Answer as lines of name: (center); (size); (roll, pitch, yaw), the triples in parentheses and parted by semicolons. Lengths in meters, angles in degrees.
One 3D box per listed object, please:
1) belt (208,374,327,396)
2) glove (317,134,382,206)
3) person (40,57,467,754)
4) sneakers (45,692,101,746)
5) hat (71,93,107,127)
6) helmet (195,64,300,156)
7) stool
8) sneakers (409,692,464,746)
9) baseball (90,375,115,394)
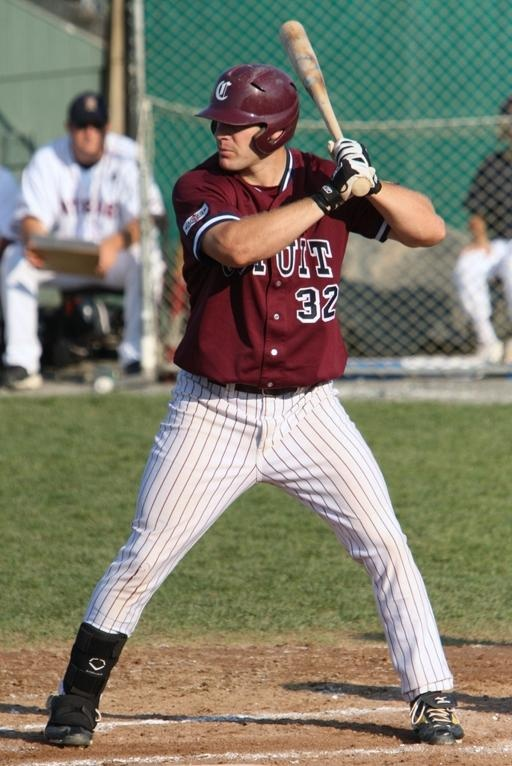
belt: (0.033, 0.011, 2.141); (0.258, 0.034, 0.078); (-1, 1, -29)
glove: (0.185, -0.416, 2.111); (0.122, 0.065, 0.171); (-11, 50, -4)
person: (-0.006, 0.035, 2.137); (0.874, 1.430, 0.318); (-1, 2, -10)
sneakers: (-0.390, 0.708, 2.177); (0.106, 0.077, 0.182); (16, 0, -14)
hat: (-0.764, -1.275, 4.821); (0.155, 0.139, 0.189); (-2, -5, -1)
helmet: (-0.014, -0.591, 2.198); (0.236, 0.164, 0.165); (-17, 37, -30)
stool: (-0.807, -0.307, 5.154); (0.181, 0.469, 0.221); (1, 17, -10)
sneakers: (0.379, 0.695, 2.165); (0.101, 0.080, 0.194); (-6, 4, 1)
baseball: (-0.770, 0.007, 5.167); (0.111, 0.088, 0.052); (2, -2, -2)
